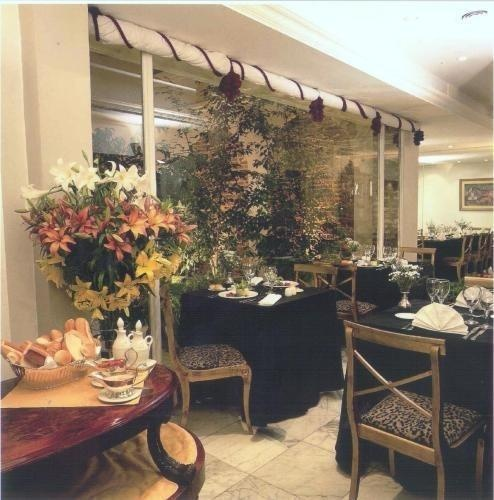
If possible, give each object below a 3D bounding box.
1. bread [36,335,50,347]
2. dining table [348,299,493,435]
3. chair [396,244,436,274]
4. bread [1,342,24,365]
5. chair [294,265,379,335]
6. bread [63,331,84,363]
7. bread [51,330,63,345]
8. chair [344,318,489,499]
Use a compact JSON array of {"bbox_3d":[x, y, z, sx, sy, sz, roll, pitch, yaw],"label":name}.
[{"bbox_3d":[-0.710,0.316,1.600,0.042,0.039,0.041,0,-1,-3],"label":"bread"},{"bbox_3d":[0.809,0.480,2.114,0.525,0.395,0.521,0,0,36],"label":"dining table"},{"bbox_3d":[1.875,0.090,5.000,0.286,0.395,0.286,-1,-1,43],"label":"chair"},{"bbox_3d":[-0.757,0.332,1.464,0.047,0.021,0.091,41,-10,2],"label":"bread"},{"bbox_3d":[0.744,0.321,3.981,0.519,0.897,0.606,7,14,42],"label":"chair"},{"bbox_3d":[-0.615,0.343,1.612,0.022,0.089,0.081,-32,-31,31],"label":"bread"},{"bbox_3d":[-0.684,0.311,1.639,0.046,0.043,0.044,-10,-17,40],"label":"bread"},{"bbox_3d":[0.691,0.670,1.905,0.538,0.793,0.621,2,4,28],"label":"chair"}]
